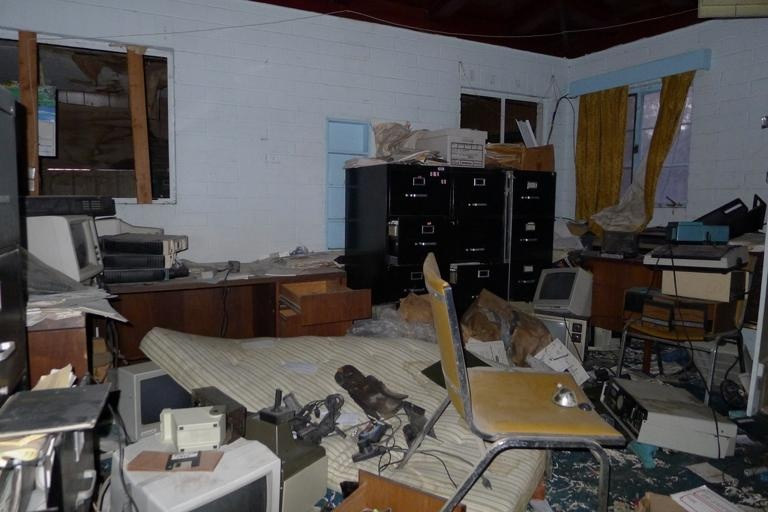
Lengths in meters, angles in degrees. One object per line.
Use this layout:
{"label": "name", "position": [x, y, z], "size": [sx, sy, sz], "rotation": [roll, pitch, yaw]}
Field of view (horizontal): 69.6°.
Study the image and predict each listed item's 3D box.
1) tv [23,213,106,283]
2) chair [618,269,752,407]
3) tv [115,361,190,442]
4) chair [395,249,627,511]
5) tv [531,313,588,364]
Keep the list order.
{"label": "tv", "position": [-2.060, -0.078, 3.772], "size": [0.413, 0.475, 0.571], "rotation": [-11, 7, -5]}
{"label": "chair", "position": [2.398, 0.495, 4.442], "size": [0.946, 1.244, 0.849], "rotation": [-5, 7, -27]}
{"label": "tv", "position": [-1.460, 0.905, 3.451], "size": [0.302, 0.492, 0.561], "rotation": [-1, 0, 44]}
{"label": "chair", "position": [0.485, 0.566, 3.596], "size": [1.475, 1.757, 1.101], "rotation": [-2, 5, -3]}
{"label": "tv", "position": [1.638, 0.733, 5.019], "size": [0.302, 0.368, 0.556], "rotation": [6, -2, -39]}
